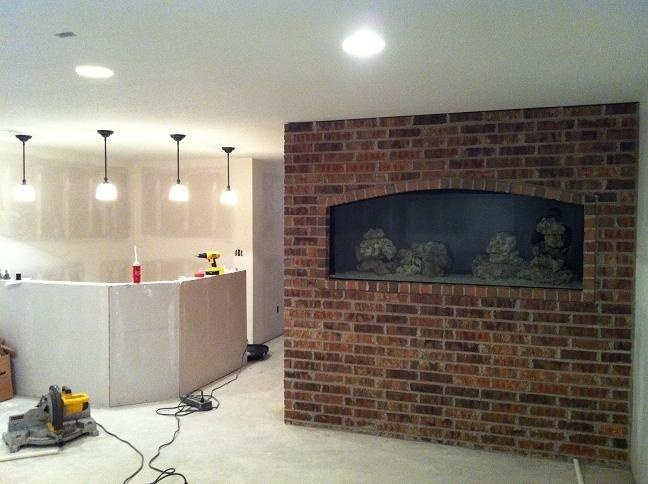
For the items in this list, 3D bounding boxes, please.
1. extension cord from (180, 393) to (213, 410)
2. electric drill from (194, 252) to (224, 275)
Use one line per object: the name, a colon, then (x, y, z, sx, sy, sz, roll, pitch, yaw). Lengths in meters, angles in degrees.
extension cord: (-1.241, 1.598, 5.888, 0.233, 0.054, 0.121, 1, 0, 41)
electric drill: (-1.300, 0.239, 6.845, 0.260, 0.210, 0.591, -2, 11, -11)
